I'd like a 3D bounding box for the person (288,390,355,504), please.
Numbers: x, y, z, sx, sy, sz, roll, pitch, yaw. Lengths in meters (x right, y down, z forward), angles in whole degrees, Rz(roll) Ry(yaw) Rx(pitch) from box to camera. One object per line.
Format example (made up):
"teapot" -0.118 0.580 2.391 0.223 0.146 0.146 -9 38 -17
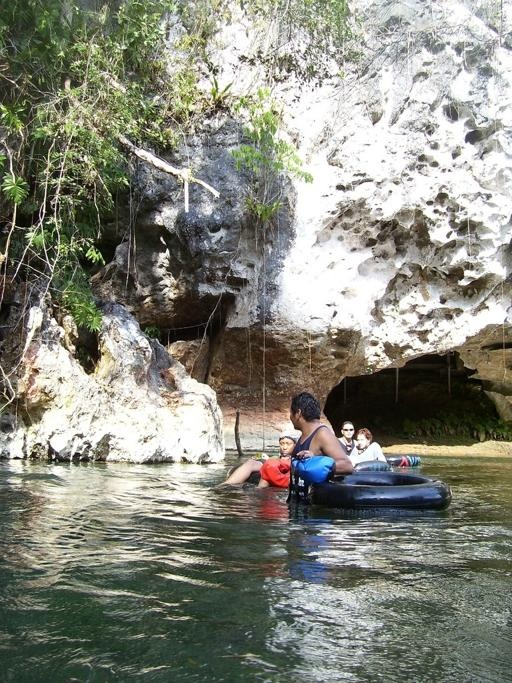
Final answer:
"person" 0.409 0.937 4.428 0.338 1.017 0.696 -2 8 -21

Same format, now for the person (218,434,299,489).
"person" 0.077 1.110 5.495 0.754 0.508 0.719 -1 -8 22

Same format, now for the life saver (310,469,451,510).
"life saver" 0.968 1.128 4.359 1.074 0.253 0.425 6 -9 -27
